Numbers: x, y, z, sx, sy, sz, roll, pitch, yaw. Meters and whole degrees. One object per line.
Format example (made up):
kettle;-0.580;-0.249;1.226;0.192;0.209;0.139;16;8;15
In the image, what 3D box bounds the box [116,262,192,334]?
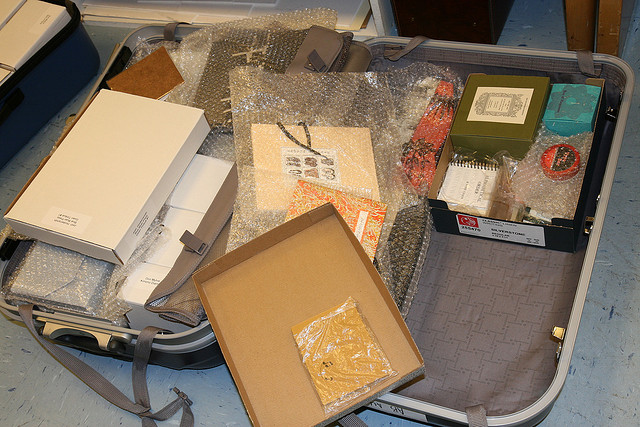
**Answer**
box;-0.566;0.322;1.757;0.286;0.088;0.218;16;67;4
